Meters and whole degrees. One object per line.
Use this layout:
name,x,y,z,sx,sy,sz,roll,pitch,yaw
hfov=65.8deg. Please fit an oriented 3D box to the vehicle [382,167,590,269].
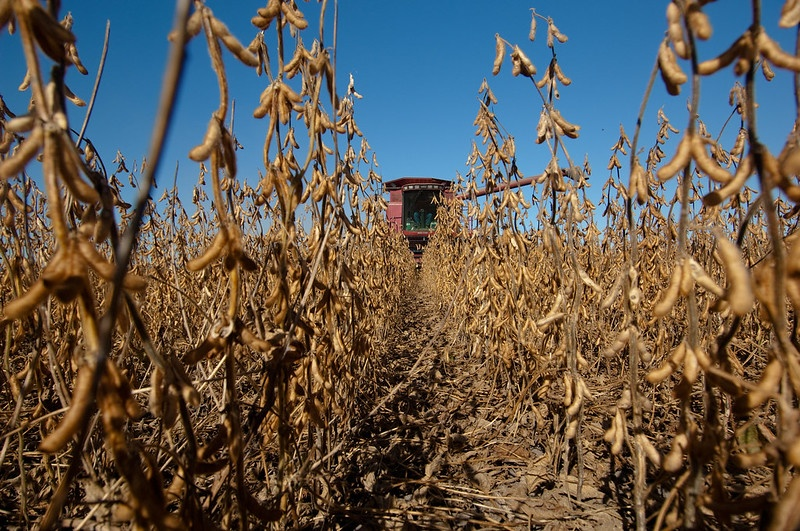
vehicle,1.785,-1.437,18.062,5.149,2.367,1.690,-2,-8,7
